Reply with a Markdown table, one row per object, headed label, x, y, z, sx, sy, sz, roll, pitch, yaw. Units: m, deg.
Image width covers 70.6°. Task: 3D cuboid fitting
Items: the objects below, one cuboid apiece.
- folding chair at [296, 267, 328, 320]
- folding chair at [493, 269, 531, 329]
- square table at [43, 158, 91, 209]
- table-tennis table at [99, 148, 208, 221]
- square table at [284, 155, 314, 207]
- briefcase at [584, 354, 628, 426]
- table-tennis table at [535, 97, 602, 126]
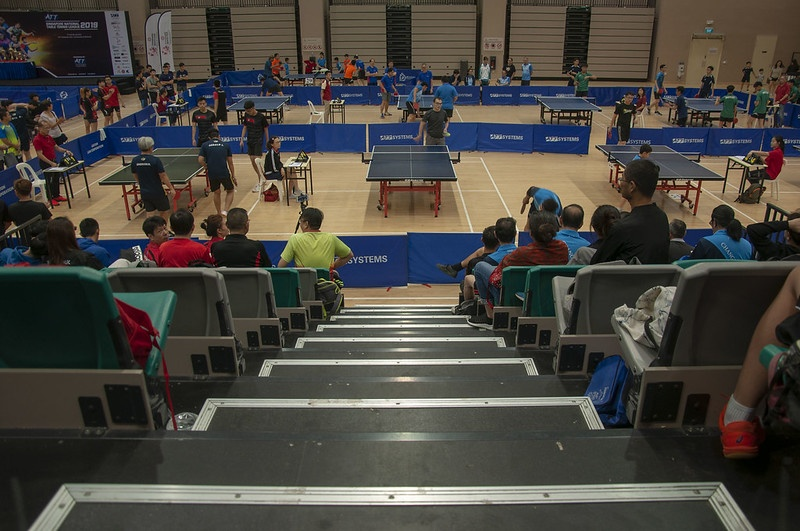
| label | x | y | z | sx | sy | sz | roll | pitch | yaw |
| --- | --- | --- | --- | --- | --- | --- | --- | --- | --- |
| folding chair | -1.191 | 0.356 | 6.869 | 0.416 | 0.659 | 0.537 | -5 | 2 | -11 |
| folding chair | 1.077 | 0.315 | 5.425 | 0.492 | 0.490 | 0.359 | 0 | 22 | 1 |
| square table | -7.776 | -1.965 | 13.447 | 0.867 | 0.825 | 0.658 | 2 | 24 | 43 |
| table-tennis table | -5.242 | -1.699 | 12.101 | 1.107 | 0.678 | 2.570 | -3 | 33 | -8 |
| square table | -2.404 | -1.952 | 13.230 | 0.523 | 0.889 | 1.464 | -2 | 28 | -3 |
| briefcase | 1.317 | 0.775 | 3.557 | 0.346 | 0.398 | 0.269 | 1 | 19 | -3 |
| table-tennis table | 6.046 | -5.549 | 20.450 | 1.524 | 0.679 | 2.598 | -4 | 29 | -2 |
